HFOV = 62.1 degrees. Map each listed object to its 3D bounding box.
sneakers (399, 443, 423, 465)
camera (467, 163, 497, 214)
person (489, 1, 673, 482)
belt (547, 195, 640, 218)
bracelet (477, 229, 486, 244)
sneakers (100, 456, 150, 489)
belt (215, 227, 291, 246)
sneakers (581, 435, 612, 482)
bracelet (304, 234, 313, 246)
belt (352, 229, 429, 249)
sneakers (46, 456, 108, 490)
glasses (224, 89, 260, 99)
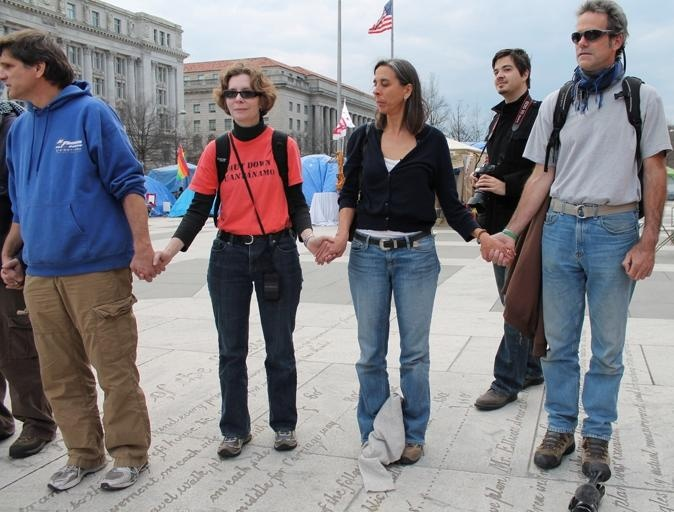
[{"bbox_3d":[0.463,1.196,3.407,0.094,0.090,0.191,8,17,30],"label":"sneakers"},{"bbox_3d":[1.032,-0.498,4.047,0.135,0.351,0.220,16,-7,-33],"label":"camera"},{"bbox_3d":[1.437,-0.104,3.245,0.711,2.658,0.854,-12,19,-36],"label":"person"},{"bbox_3d":[1.470,-0.272,3.218,0.463,0.093,0.146,5,16,22],"label":"belt"},{"bbox_3d":[0.893,-0.125,3.497,0.031,0.080,0.068,5,15,9],"label":"bracelet"},{"bbox_3d":[-1.223,1.281,3.234,0.097,0.106,0.241,-2,-13,12],"label":"sneakers"},{"bbox_3d":[-0.507,-0.127,3.508,0.476,0.082,0.119,-1,15,-3],"label":"belt"},{"bbox_3d":[1.451,1.163,3.145,0.155,0.202,0.267,6,16,25],"label":"sneakers"},{"bbox_3d":[-0.170,-0.099,3.449,0.047,0.041,0.054,30,-13,16],"label":"bracelet"},{"bbox_3d":[0.318,-0.104,3.415,0.461,0.099,0.147,2,15,10],"label":"belt"},{"bbox_3d":[-1.526,1.280,3.279,0.098,0.104,0.257,9,-3,23],"label":"sneakers"},{"bbox_3d":[-0.590,-1.009,3.469,0.236,0.053,0.114,-1,14,-2],"label":"glasses"}]
